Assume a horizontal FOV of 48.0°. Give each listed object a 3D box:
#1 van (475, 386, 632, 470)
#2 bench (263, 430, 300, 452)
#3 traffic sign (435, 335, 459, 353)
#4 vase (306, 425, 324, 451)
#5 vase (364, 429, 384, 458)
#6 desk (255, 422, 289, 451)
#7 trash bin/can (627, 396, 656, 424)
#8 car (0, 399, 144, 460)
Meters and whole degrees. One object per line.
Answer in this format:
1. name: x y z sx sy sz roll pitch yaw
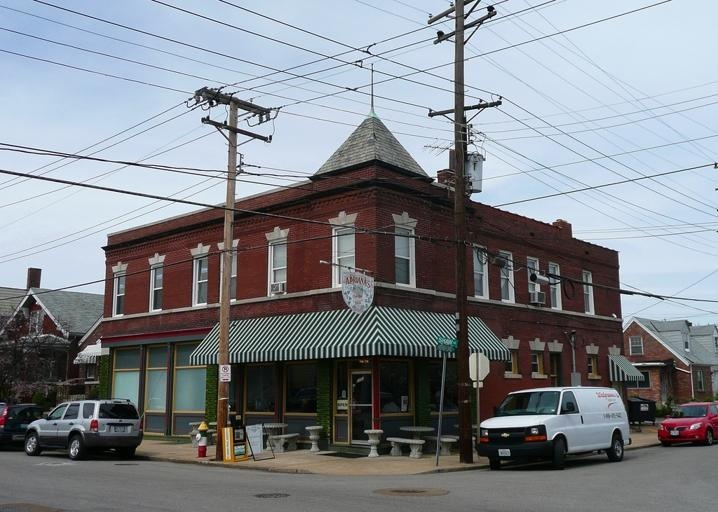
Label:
1. van: 6.799 6.067 28.147 4.871 2.036 2.755 17 -25 -40
2. bench: -3.054 7.362 31.606 1.594 0.794 1.368 7 -19 -27
3. traffic sign: 3.152 3.243 29.165 0.128 0.539 0.929 -10 -13 40
4. vase: -1.701 7.124 31.310 0.596 1.037 0.703 -1 -18 -3
5. vase: 0.577 7.004 29.912 0.648 1.070 0.852 -3 -18 1
6. desk: -3.330 7.264 31.828 1.222 0.911 1.284 7 -12 -40
7. trash bin/can: 14.698 8.173 42.593 1.530 1.278 1.496 0 -10 -4
8. car: -10.887 6.850 31.251 4.838 2.200 1.733 -10 -19 23
